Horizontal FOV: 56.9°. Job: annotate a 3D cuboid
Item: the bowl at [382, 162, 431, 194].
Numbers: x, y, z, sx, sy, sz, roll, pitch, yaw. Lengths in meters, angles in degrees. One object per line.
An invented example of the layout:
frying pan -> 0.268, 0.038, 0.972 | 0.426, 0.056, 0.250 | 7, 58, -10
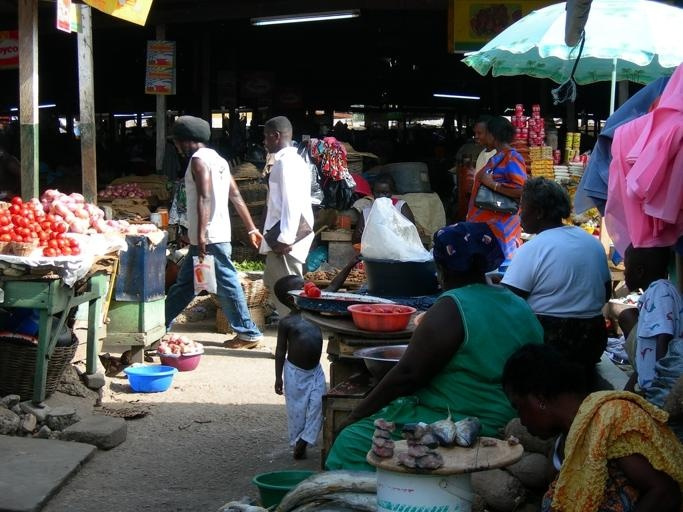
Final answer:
bowl -> 1.172, -1.355, 10.818 | 0.649, 0.379, 0.633 | 0, 5, 0

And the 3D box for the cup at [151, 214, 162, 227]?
cup -> -2.415, -0.485, 8.342 | 0.190, 0.191, 0.184 | -1, -1, 0

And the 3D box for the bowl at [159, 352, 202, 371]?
bowl -> -1.630, 1.038, 6.472 | 0.266, 0.107, 0.262 | -1, -1, 0

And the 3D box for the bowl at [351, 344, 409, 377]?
bowl -> 0.237, 0.607, 3.604 | 0.303, 0.102, 0.296 | 3, 6, 0

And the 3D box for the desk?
desk -> -2.343, 0.664, 5.280 | 0.387, 1.101, 0.926 | 7, 7, 11

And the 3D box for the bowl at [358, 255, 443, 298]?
bowl -> 0.481, 0.144, 4.714 | 0.689, 0.252, 0.677 | 0, 1, 0

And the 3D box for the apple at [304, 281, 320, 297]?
apple -> -0.181, 0.221, 4.110 | 0.068, 0.049, 0.109 | 9, 2, -15

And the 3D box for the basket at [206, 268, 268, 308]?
basket -> -1.174, 0.409, 8.103 | 0.549, 0.325, 0.581 | -1, 1, 0

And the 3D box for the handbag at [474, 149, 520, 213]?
handbag -> 1.500, -0.728, 6.364 | 0.628, 0.572, 0.258 | 8, -3, 2

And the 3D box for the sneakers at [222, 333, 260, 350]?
sneakers -> -1.148, 0.992, 7.465 | 0.470, 0.203, 0.170 | 3, 7, 4

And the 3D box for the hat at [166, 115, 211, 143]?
hat -> -1.663, -1.382, 6.824 | 0.383, 0.191, 0.279 | 9, 17, 24

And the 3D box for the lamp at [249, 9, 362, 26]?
lamp -> -0.640, -4.181, 11.011 | 2.164, 0.328, 0.160 | 1, 33, 14
